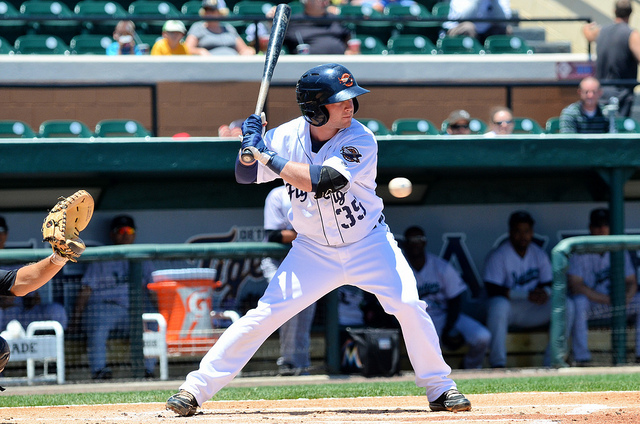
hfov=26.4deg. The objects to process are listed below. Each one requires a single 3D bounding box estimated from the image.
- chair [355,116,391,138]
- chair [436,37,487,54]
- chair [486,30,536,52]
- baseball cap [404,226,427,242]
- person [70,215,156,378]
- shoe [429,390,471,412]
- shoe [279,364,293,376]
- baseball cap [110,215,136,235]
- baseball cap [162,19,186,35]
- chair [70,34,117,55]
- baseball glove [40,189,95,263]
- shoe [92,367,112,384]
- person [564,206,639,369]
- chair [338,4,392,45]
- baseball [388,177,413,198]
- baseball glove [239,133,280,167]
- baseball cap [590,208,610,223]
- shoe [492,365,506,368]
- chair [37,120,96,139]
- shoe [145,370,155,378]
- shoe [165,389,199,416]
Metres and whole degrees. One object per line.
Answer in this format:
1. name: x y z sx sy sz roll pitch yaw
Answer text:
1. chair: 0.550 -0.809 13.630 0.309 0.332 0.348 -2 10 -3
2. chair: 1.597 -1.798 15.311 0.619 0.183 0.153 2 37 9
3. chair: 2.136 -1.836 15.327 0.439 0.130 0.281 0 26 0
4. baseball cap: 0.975 0.236 13.895 0.201 0.171 0.148 -3 -9 3
5. person: -1.928 1.009 12.916 0.835 1.068 0.197 -6 -10 18
6. shoe: 1.091 1.552 11.382 0.346 0.119 0.136 -7 -9 27
7. shoe: -0.321 1.485 12.982 0.120 0.100 0.026 11 5 9
8. baseball cap: -2.035 0.140 14.164 0.254 0.232 0.299 -1 -9 -9
9. baseball cap: -1.538 -1.917 14.516 0.226 0.194 0.310 -1 -9 -10
10. chair: -2.529 -1.817 15.282 0.469 0.149 0.319 2 12 2
11. baseball glove: -2.078 0.076 10.950 0.186 0.532 0.437 10 -28 42
12. shoe: -2.030 1.526 12.842 0.174 0.140 0.039 -1 -7 -1
13. person: 2.775 0.740 13.470 0.628 1.588 1.446 -7 -10 21
14. chair: 0.824 -2.232 16.360 0.552 0.615 1.148 1 -2 1
15. baseball: 0.768 -0.222 12.865 0.185 0.183 0.256 -4 -9 9
16. baseball glove: -0.493 -0.495 11.188 0.282 0.120 0.261 23 16 -24
17. baseball cap: 2.984 0.046 14.539 0.192 0.162 0.265 -4 -9 9
18. shoe: 1.762 1.502 13.413 0.116 0.031 0.110 -3 -9 5
19. chair: -2.520 -0.781 13.476 0.374 0.117 0.249 -1 3 2
20. shoe: -1.586 1.503 12.819 0.088 0.070 0.024 -1 -10 -11
21. shoe: -1.116 1.551 11.201 0.280 0.158 0.143 19 27 -39
